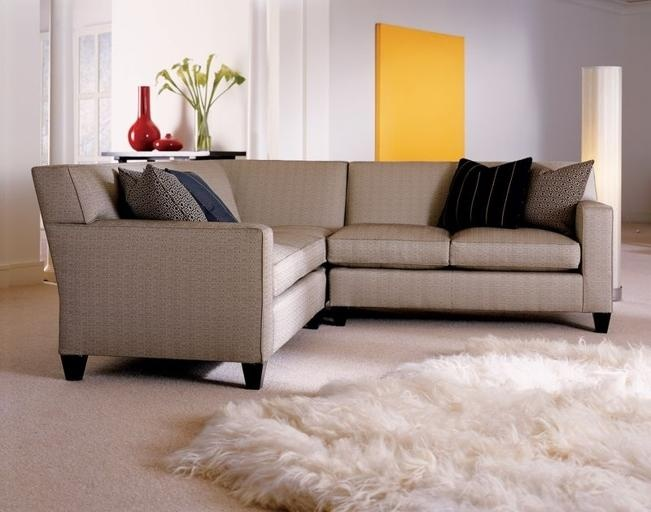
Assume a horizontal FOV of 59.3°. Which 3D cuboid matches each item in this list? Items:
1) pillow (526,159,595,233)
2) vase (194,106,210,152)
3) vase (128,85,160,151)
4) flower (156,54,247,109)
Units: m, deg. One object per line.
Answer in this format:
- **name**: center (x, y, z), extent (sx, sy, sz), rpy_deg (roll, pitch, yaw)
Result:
- **pillow**: center (1.352, -0.359, 3.297), extent (0.188, 0.341, 0.398), rpy_deg (4, -14, -31)
- **vase**: center (-1.190, -1.205, 5.479), extent (0.132, 0.390, 0.244), rpy_deg (-4, 8, -11)
- **vase**: center (-1.692, -1.281, 5.326), extent (0.254, 0.609, 0.361), rpy_deg (-7, 9, -31)
- **flower**: center (-1.182, -1.617, 5.641), extent (0.851, 0.512, 0.858), rpy_deg (1, 8, -14)
